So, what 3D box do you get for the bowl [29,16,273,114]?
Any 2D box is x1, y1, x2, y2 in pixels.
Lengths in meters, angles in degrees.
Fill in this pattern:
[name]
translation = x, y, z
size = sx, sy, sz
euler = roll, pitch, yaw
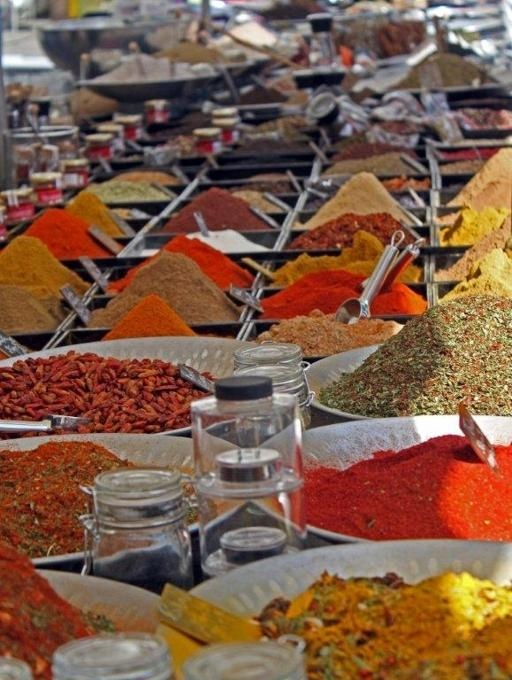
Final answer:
[bowl]
translation = -1.228, -2.999, 7.151
size = 1.554, 0.378, 1.489
euler = -2, 13, 1
